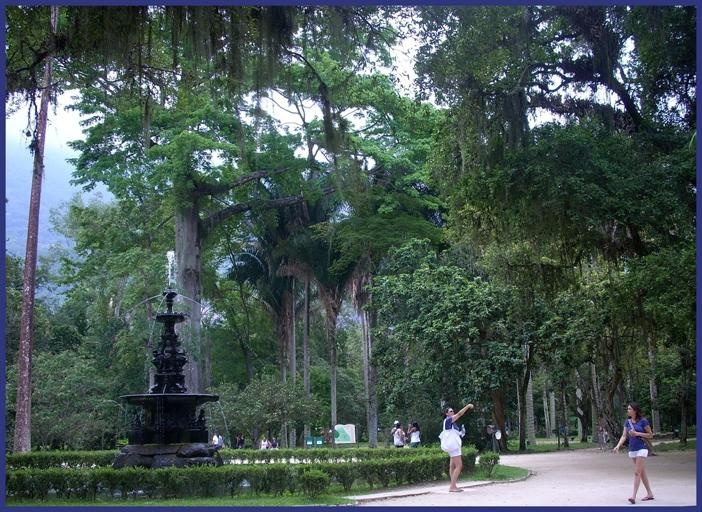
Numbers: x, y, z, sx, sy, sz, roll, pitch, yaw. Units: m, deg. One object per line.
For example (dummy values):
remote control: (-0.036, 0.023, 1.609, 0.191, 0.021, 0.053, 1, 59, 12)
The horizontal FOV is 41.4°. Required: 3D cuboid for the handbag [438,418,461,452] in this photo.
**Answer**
handbag: (2.819, 5.068, 26.464, 0.526, 0.960, 0.518, -4, -11, 7)
